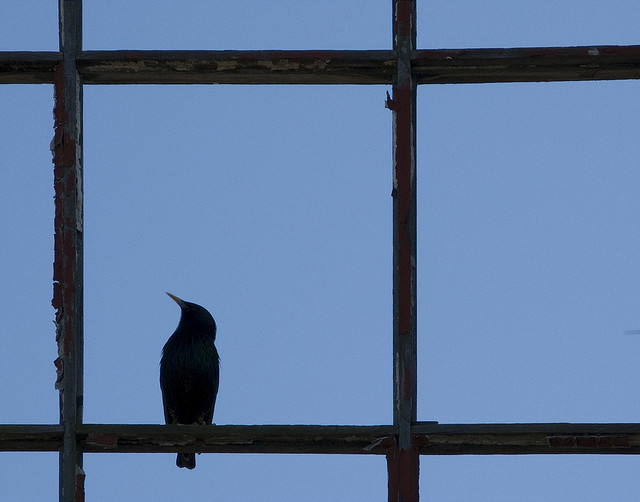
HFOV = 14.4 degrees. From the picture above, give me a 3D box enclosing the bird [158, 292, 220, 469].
[{"bbox_3d":[-0.519,0.508,10.020,0.244,0.580,0.555,3,-100,2],"label":"bird"}]
